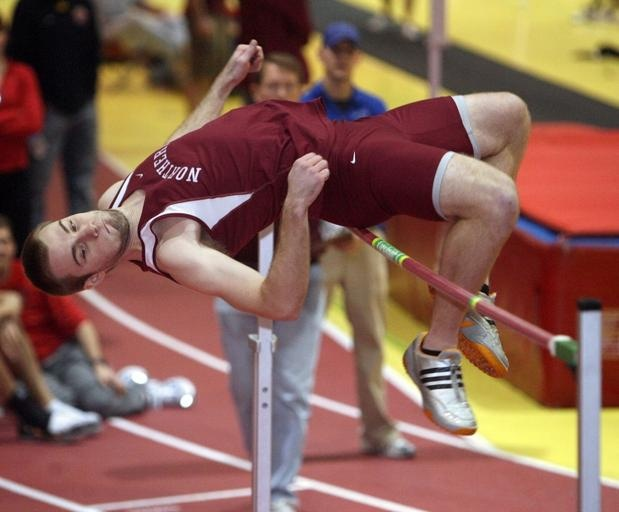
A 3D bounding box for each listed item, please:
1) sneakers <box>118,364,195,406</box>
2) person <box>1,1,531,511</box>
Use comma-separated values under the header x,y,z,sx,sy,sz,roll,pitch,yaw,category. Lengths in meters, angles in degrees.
x,y,z,sx,sy,sz,roll,pitch,yaw,category
-0.716,0.641,3.920,0.364,0.160,0.200,13,16,-5,sneakers
-0.035,-0.001,2.507,1.472,0.771,0.910,-25,40,-14,person
